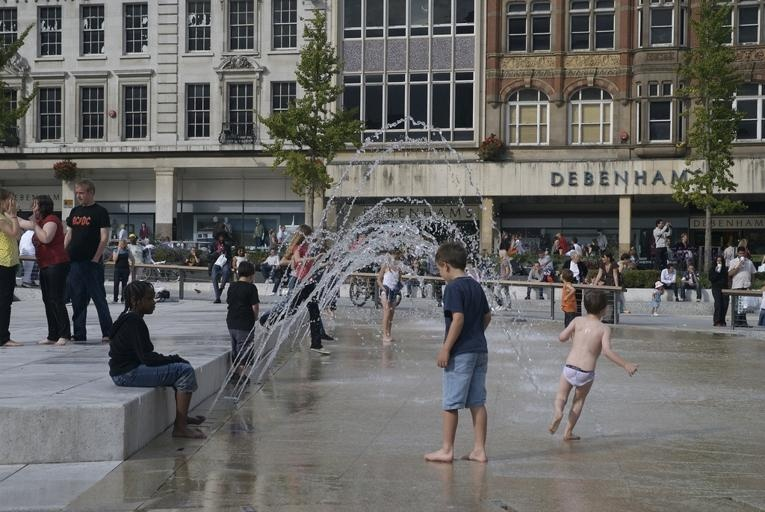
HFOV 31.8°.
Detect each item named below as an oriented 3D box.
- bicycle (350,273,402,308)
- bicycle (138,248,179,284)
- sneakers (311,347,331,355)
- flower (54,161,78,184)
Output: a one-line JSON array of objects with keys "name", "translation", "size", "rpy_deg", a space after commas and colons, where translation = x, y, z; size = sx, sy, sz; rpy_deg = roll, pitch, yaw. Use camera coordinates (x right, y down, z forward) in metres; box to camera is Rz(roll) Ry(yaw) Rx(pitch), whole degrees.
[{"name": "bicycle", "translation": [-0.323, 1.397, 51.614], "size": [2.085, 1.261, 1.014], "rpy_deg": [1, -1, 14]}, {"name": "bicycle", "translation": [-9.596, 0.383, 57.500], "size": [2.136, 1.302, 1.045], "rpy_deg": [4, 4, 32]}, {"name": "sneakers", "translation": [-1.779, 2.831, 39.548], "size": [0.605, 0.234, 0.206], "rpy_deg": [17, -4, 32]}, {"name": "flower", "translation": [-16.048, -4.197, 67.991], "size": [1.031, 0.872, 1.037], "rpy_deg": [0, 3, -40]}]
